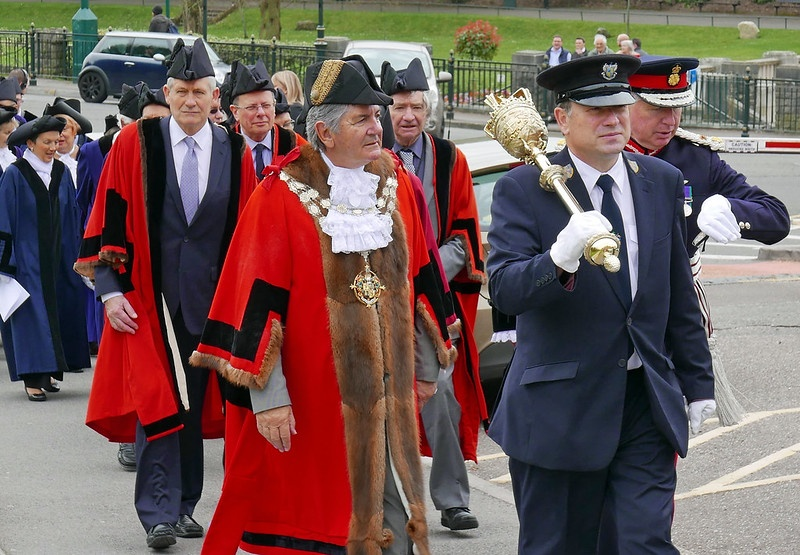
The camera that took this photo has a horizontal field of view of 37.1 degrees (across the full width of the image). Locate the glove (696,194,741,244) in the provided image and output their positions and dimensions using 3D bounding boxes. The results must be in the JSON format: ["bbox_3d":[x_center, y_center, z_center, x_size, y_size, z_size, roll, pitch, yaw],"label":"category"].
[{"bbox_3d":[1.813,-0.324,6.757,0.214,0.281,0.084,-36,4,-35],"label":"glove"}]

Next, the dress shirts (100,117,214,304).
[{"bbox_3d":[-1.508,-0.640,7.687,0.395,1.650,0.454,16,-9,-32],"label":"dress shirts"}]

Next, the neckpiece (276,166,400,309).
[{"bbox_3d":[-0.360,-0.185,6.278,0.742,0.840,0.190,1,-20,-35],"label":"neckpiece"}]

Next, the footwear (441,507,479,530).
[{"bbox_3d":[0.385,1.558,7.677,0.102,0.105,0.272,2,-8,-34],"label":"footwear"}]

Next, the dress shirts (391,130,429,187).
[{"bbox_3d":[0.089,-0.833,8.203,0.226,0.300,0.110,1,-8,-5],"label":"dress shirts"}]

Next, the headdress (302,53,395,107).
[{"bbox_3d":[-0.306,-1.021,6.273,0.353,0.170,0.264,-3,9,24],"label":"headdress"}]

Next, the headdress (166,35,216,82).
[{"bbox_3d":[-1.400,-1.428,7.875,0.271,0.227,0.359,-4,13,-16],"label":"headdress"}]

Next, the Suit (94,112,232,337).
[{"bbox_3d":[-1.324,-0.316,7.562,0.808,1.294,0.315,3,1,-8],"label":"Suit"}]

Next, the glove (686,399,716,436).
[{"bbox_3d":[1.557,0.701,6.264,0.154,0.198,0.085,-3,32,-26],"label":"glove"}]

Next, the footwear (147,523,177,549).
[{"bbox_3d":[-1.491,1.608,7.442,0.195,0.166,0.147,-7,10,-23],"label":"footwear"}]

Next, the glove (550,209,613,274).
[{"bbox_3d":[0.867,-0.169,5.773,0.309,0.112,0.234,-37,-46,16],"label":"glove"}]

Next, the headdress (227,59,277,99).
[{"bbox_3d":[-1.137,-1.495,8.987,0.270,0.260,0.388,-9,7,-23],"label":"headdress"}]

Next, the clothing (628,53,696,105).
[{"bbox_3d":[1.571,-1.165,7.128,0.323,0.179,0.371,-6,19,-23],"label":"clothing"}]

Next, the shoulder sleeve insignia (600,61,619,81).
[{"bbox_3d":[1.064,-1.048,6.069,0.107,0.098,0.018,0,0,-8],"label":"shoulder sleeve insignia"}]

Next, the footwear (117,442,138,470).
[{"bbox_3d":[-2.023,1.330,8.849,0.136,0.153,0.361,2,-2,-25],"label":"footwear"}]

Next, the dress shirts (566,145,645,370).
[{"bbox_3d":[0.997,-0.222,6.159,0.235,1.391,0.356,1,-21,-13],"label":"dress shirts"}]
